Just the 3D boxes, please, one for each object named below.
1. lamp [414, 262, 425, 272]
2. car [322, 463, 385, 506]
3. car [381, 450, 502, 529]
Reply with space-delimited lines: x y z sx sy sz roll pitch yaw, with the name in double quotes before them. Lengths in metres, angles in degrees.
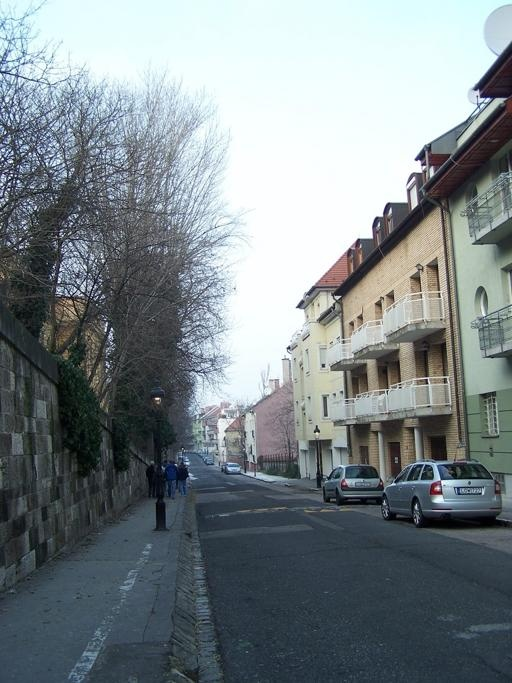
"lamp" 7.214 -3.257 23.888 0.344 0.336 0.256 6 -8 -41
"car" 3.775 5.826 22.302 1.412 1.257 2.650 1 -9 -9
"car" 4.333 3.568 13.579 1.381 1.160 3.225 2 -12 -8
